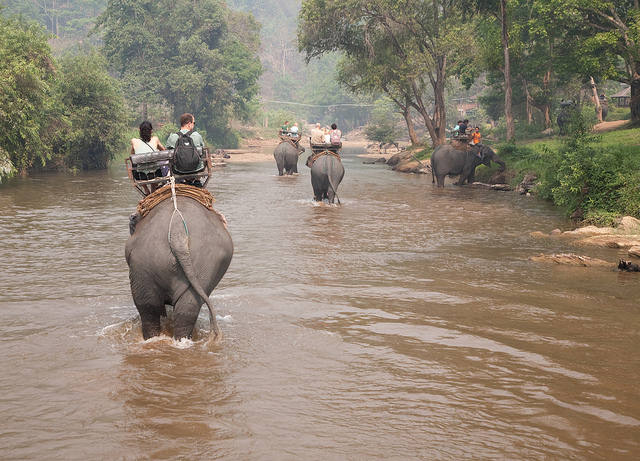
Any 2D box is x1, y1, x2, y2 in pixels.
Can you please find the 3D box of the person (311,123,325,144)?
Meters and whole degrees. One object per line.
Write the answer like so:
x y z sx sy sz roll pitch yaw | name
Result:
-0.110 -3.585 25.416 0.463 0.733 1.193 -2 7 0 | person

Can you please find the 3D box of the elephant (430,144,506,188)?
6.639 -3.030 31.704 2.972 1.954 1.153 -1 7 8 | elephant

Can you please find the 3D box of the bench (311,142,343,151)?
0.202 -3.013 24.546 1.054 0.294 0.591 -2 7 1 | bench

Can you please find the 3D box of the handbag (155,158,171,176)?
-2.712 -1.143 12.036 0.263 0.266 0.074 -25 11 5 | handbag

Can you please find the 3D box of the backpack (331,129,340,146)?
0.560 -3.320 24.553 0.306 0.507 0.200 0 -8 -2 | backpack

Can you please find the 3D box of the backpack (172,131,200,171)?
-2.371 -1.405 12.160 0.512 0.705 0.399 -9 17 -22 | backpack

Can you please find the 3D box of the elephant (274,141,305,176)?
-1.712 -3.865 37.007 1.315 1.734 2.224 -3 7 -2 | elephant

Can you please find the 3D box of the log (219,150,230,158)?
-7.764 -6.206 55.515 1.493 0.612 0.514 16 19 43 | log

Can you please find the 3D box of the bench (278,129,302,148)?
-1.610 -4.885 36.414 0.872 0.675 1.148 2 0 4 | bench

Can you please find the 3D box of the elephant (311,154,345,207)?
0.208 -1.777 24.250 1.098 1.823 1.362 -6 8 -28 | elephant
